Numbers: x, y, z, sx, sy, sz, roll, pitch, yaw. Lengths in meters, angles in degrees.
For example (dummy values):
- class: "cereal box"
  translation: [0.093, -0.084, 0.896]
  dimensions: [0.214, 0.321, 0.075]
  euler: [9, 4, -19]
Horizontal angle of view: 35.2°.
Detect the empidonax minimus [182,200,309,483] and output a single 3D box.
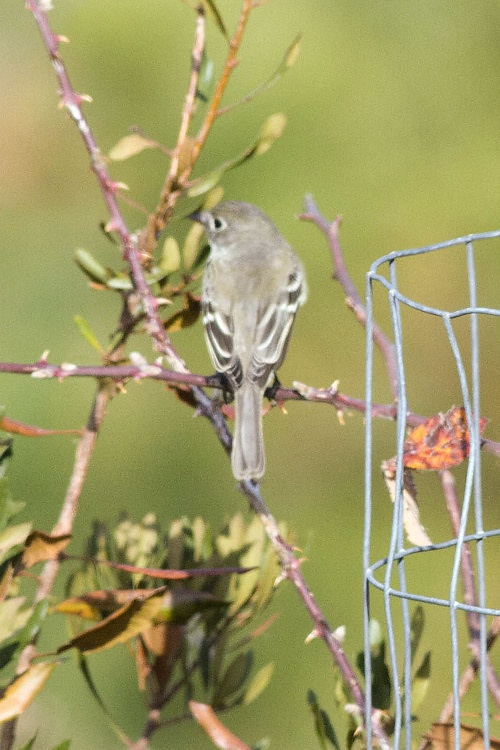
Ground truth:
- class: "empidonax minimus"
  translation: [0.006, -0.114, 2.153]
  dimensions: [0.272, 0.784, 0.295]
  euler: [-1, -37, 4]
